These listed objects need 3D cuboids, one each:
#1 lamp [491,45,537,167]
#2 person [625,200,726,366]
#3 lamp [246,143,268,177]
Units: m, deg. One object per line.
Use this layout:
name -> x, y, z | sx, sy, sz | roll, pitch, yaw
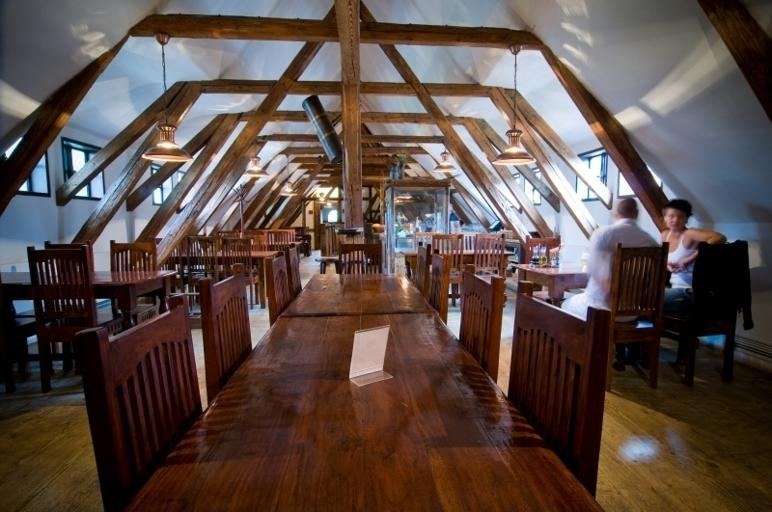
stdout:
lamp -> 1.604, -1.743, 6.748 | 0.456, 1.417, 1.600 | -5, -2, 16
person -> 2.927, 0.283, 5.495 | 0.905, 1.701, 0.950 | -2, 1, -19
lamp -> -2.058, -1.471, 8.394 | 0.314, 0.328, 0.356 | -2, -13, -13
